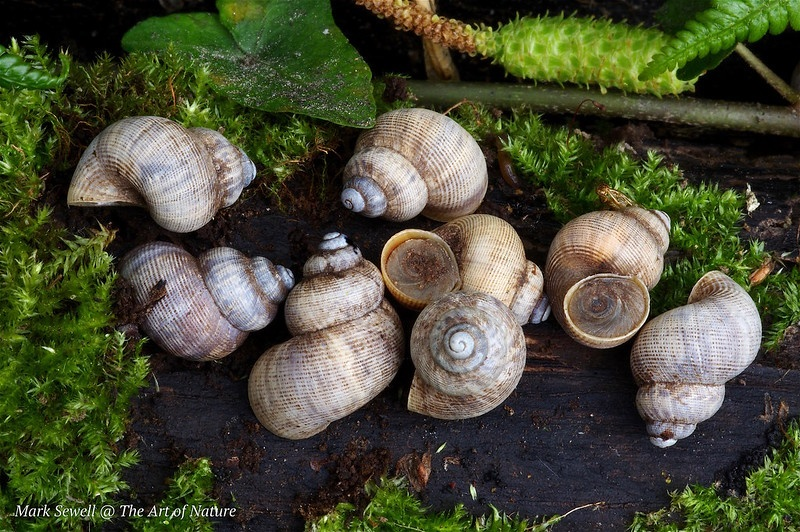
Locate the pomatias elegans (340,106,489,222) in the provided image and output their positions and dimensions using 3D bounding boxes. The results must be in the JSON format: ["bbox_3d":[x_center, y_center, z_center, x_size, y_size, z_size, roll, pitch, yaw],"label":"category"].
[{"bbox_3d":[0.062,-0.471,3.604,0.678,0.324,0.466,-1,73,-2],"label":"pomatias elegans"}]

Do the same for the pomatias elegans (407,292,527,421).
[{"bbox_3d":[0.298,0.385,3.322,0.507,0.406,0.520,3,73,0],"label":"pomatias elegans"}]

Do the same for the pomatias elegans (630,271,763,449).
[{"bbox_3d":[1.377,0.424,3.530,0.518,0.453,0.853,24,89,23],"label":"pomatias elegans"}]
